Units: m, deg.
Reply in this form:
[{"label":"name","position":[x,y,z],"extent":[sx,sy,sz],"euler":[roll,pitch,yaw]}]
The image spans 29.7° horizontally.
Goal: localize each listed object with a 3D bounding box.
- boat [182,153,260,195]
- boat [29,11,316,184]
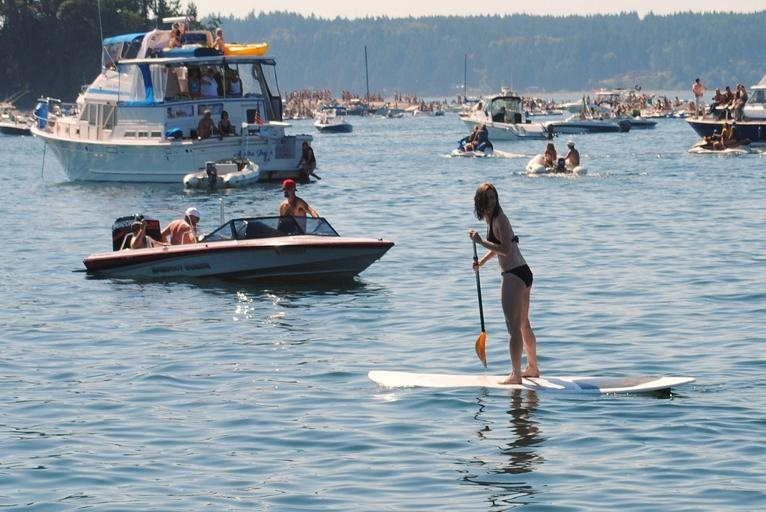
[{"label":"boat","position":[-6.067,-2.998,53.247],"extent":[2.896,1.126,1.372],"euler":[-4,7,-21]},{"label":"boat","position":[-9.288,-5.908,57.691],"extent":[5.997,5.869,16.025],"euler":[-7,10,-40]}]
